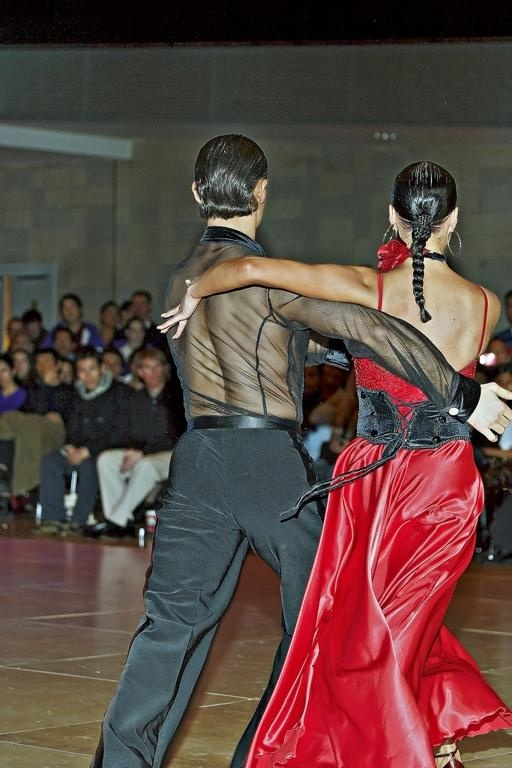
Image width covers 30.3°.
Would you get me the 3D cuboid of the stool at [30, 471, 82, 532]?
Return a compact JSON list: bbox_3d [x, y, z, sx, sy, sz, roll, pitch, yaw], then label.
[{"bbox_3d":[-1.443,0.863,6.933,0.500,0.392,0.142,4,6,9],"label":"stool"}]
